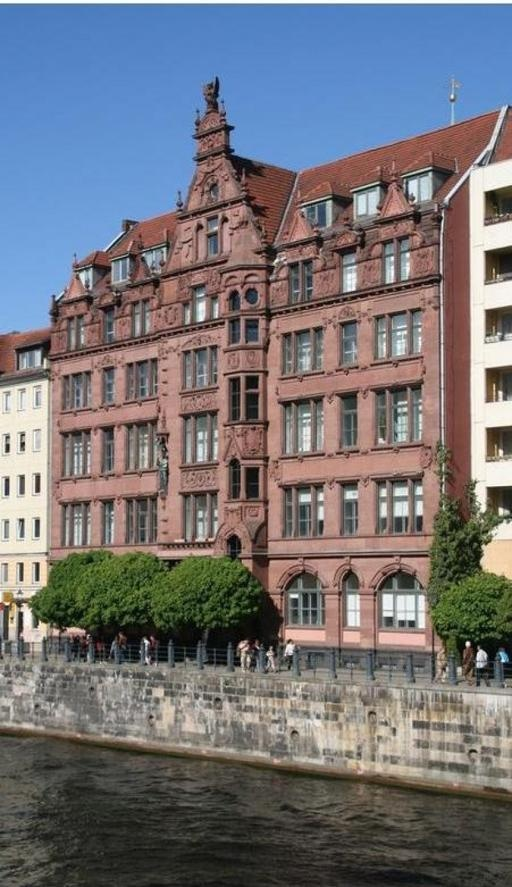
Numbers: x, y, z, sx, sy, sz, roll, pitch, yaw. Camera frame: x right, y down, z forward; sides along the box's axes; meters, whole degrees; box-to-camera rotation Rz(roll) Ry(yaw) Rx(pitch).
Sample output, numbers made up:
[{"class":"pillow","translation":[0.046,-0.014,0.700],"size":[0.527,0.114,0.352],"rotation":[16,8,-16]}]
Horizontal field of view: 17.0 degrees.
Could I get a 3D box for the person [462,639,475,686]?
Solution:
[{"class":"person","translation":[6.193,6.567,50.371],"size":[0.380,0.954,2.070],"rotation":[-5,8,7]}]
